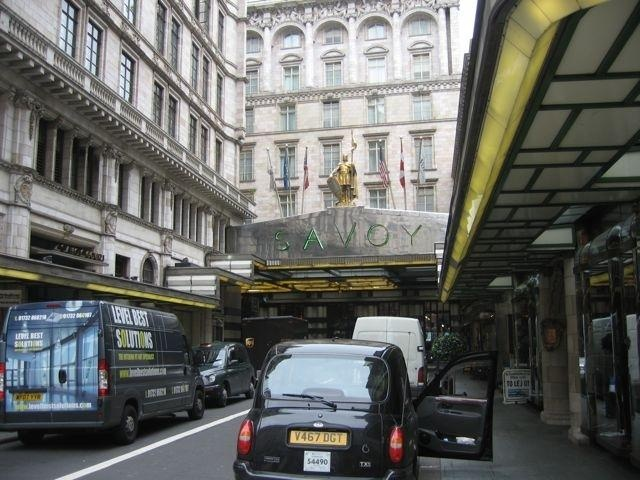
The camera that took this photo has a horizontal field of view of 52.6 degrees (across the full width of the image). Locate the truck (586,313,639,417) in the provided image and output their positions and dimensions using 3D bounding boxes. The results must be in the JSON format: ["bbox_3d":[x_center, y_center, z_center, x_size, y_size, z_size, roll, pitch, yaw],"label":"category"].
[{"bbox_3d":[5.622,2.455,12.630,0.488,2.012,2.427,-2,-12,9],"label":"truck"}]

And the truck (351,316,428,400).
[{"bbox_3d":[2.285,4.660,20.644,2.474,2.634,5.090,1,-29,9],"label":"truck"}]
